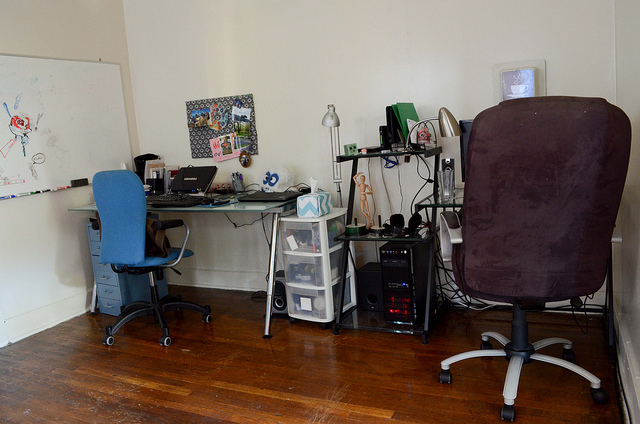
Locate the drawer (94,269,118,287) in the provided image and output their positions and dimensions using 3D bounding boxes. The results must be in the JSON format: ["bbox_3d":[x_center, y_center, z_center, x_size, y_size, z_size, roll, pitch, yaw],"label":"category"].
[{"bbox_3d":[-1.973,0.611,4.658,0.179,0.161,0.111,1,7,25],"label":"drawer"}]

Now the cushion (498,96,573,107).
[{"bbox_3d":[1.221,-0.627,2.816,0.375,0.046,0.133,1,11,18],"label":"cushion"}]

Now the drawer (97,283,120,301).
[{"bbox_3d":[-1.966,0.742,4.678,0.180,0.168,0.112,0,1,29],"label":"drawer"}]

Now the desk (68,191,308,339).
[{"bbox_3d":[-1.254,0.253,4.373,1.862,0.870,0.994,9,3,-7],"label":"desk"}]

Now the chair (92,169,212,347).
[{"bbox_3d":[-1.487,0.357,4.421,0.967,1.314,0.939,1,6,20],"label":"chair"}]

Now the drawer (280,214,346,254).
[{"bbox_3d":[-0.020,0.194,4.349,0.569,0.301,0.569,-12,12,-39],"label":"drawer"}]

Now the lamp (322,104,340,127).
[{"bbox_3d":[0.092,-0.809,4.194,0.131,0.184,0.224,-3,11,1],"label":"lamp"}]

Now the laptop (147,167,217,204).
[{"bbox_3d":[-1.281,-0.244,4.526,0.582,0.245,0.586,1,18,33],"label":"laptop"}]

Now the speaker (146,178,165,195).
[{"bbox_3d":[-1.587,-0.244,4.825,0.171,0.155,0.086,-1,7,-11],"label":"speaker"}]

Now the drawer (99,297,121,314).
[{"bbox_3d":[-1.951,0.871,4.698,0.174,0.164,0.105,6,10,30],"label":"drawer"}]

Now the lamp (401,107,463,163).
[{"bbox_3d":[0.843,-0.568,3.721,0.470,0.399,0.153,2,25,27],"label":"lamp"}]

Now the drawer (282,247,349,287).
[{"bbox_3d":[-0.049,0.416,4.198,0.346,0.206,0.344,4,9,26],"label":"drawer"}]

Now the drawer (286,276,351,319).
[{"bbox_3d":[-0.044,0.731,4.235,0.357,0.210,0.354,3,8,16],"label":"drawer"}]
